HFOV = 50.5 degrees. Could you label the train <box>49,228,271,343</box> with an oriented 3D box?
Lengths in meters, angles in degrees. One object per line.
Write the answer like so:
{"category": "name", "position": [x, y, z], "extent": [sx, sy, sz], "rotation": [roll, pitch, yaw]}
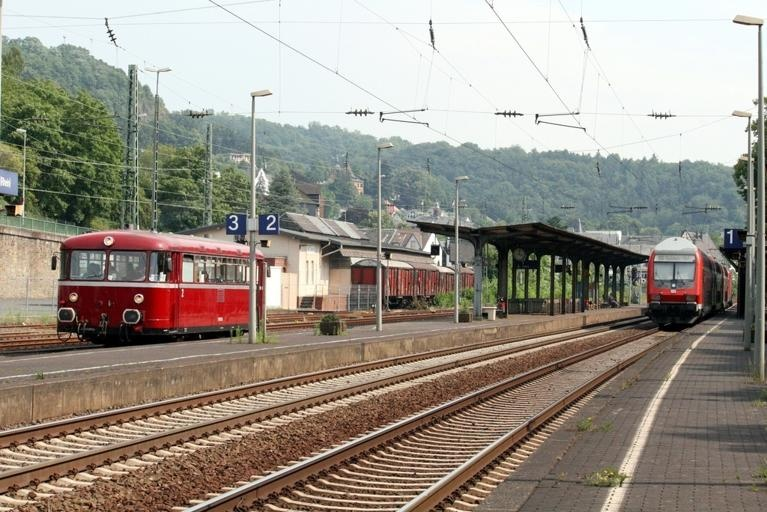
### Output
{"category": "train", "position": [-7.808, 1.160, 31.787], "extent": [3.390, 4.066, 9.398], "rotation": [-4, -6, 38]}

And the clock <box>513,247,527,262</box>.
{"category": "clock", "position": [9.188, -0.138, 53.692], "extent": [0.907, 1.236, 0.720], "rotation": [-2, 7, -2]}

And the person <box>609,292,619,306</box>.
{"category": "person", "position": [23.064, 4.328, 81.564], "extent": [1.010, 1.541, 3.508], "rotation": [-2, -5, 15]}

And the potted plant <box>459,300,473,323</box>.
{"category": "potted plant", "position": [5.402, 3.750, 53.127], "extent": [0.877, 1.584, 0.996], "rotation": [-1, -1, 41]}

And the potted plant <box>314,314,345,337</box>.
{"category": "potted plant", "position": [-2.453, 3.152, 37.319], "extent": [0.909, 0.929, 0.974], "rotation": [0, 1, 0]}

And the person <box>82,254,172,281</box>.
{"category": "person", "position": [-9.253, 0.359, 28.967], "extent": [2.923, 1.086, 0.539], "rotation": [-1, -4, -1]}
